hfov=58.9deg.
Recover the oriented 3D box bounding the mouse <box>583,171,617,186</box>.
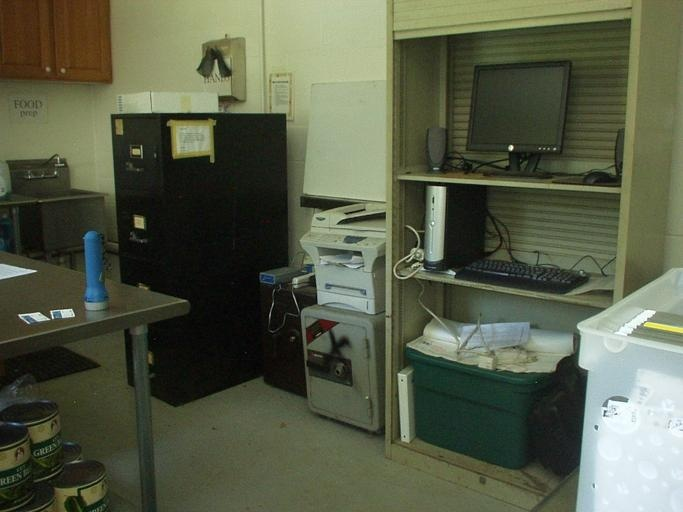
[{"bbox_3d":[1.049,-0.329,2.430,0.121,0.039,0.070,-14,23,-39],"label":"mouse"}]

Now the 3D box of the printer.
[{"bbox_3d":[0.074,0.003,3.241,0.489,0.508,0.389,7,16,25],"label":"printer"}]

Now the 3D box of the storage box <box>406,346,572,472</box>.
[{"bbox_3d":[0.670,0.681,2.756,0.639,0.365,0.496,3,6,38],"label":"storage box"}]

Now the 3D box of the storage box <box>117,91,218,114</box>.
[{"bbox_3d":[-1.038,-0.902,3.541,0.593,0.113,0.326,-2,15,-7],"label":"storage box"}]

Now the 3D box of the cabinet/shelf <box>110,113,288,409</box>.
[{"bbox_3d":[-0.881,-0.051,3.908,0.995,1.651,1.086,5,12,20],"label":"cabinet/shelf"}]

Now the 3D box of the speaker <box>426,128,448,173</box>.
[{"bbox_3d":[0.448,-0.505,2.864,0.108,0.201,0.073,1,7,8],"label":"speaker"}]

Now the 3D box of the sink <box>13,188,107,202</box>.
[{"bbox_3d":[-2.234,-0.481,4.769,0.306,0.116,0.367,10,13,42],"label":"sink"}]

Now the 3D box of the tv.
[{"bbox_3d":[0.815,-0.629,2.729,0.569,0.595,0.215,6,6,38],"label":"tv"}]

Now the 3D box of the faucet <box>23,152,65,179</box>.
[{"bbox_3d":[-2.415,-0.720,4.940,0.106,0.186,0.362,13,19,28],"label":"faucet"}]
